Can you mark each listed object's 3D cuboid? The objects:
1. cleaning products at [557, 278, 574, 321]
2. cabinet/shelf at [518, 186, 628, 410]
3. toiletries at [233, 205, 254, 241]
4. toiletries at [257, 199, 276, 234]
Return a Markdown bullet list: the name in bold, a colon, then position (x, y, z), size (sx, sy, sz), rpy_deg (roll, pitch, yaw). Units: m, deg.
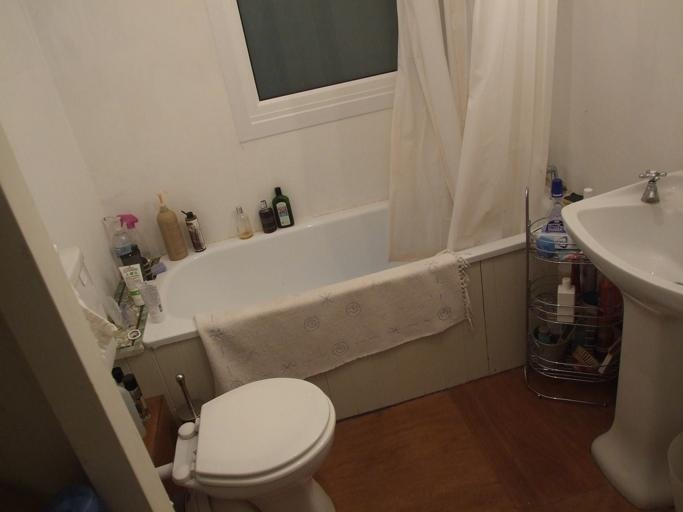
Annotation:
- **cleaning products**: position (0.888, 0.192, 2.134), size (0.063, 0.169, 0.058), rpy_deg (8, -5, 31)
- **cabinet/shelf**: position (0.981, 0.195, 2.240), size (0.453, 0.768, 0.455), rpy_deg (-8, 15, -5)
- **toiletries**: position (-0.511, -0.177, 2.798), size (0.081, 0.165, 0.065), rpy_deg (-15, 24, -12)
- **toiletries**: position (-0.389, -0.209, 2.819), size (0.084, 0.165, 0.072), rpy_deg (-13, 24, -9)
